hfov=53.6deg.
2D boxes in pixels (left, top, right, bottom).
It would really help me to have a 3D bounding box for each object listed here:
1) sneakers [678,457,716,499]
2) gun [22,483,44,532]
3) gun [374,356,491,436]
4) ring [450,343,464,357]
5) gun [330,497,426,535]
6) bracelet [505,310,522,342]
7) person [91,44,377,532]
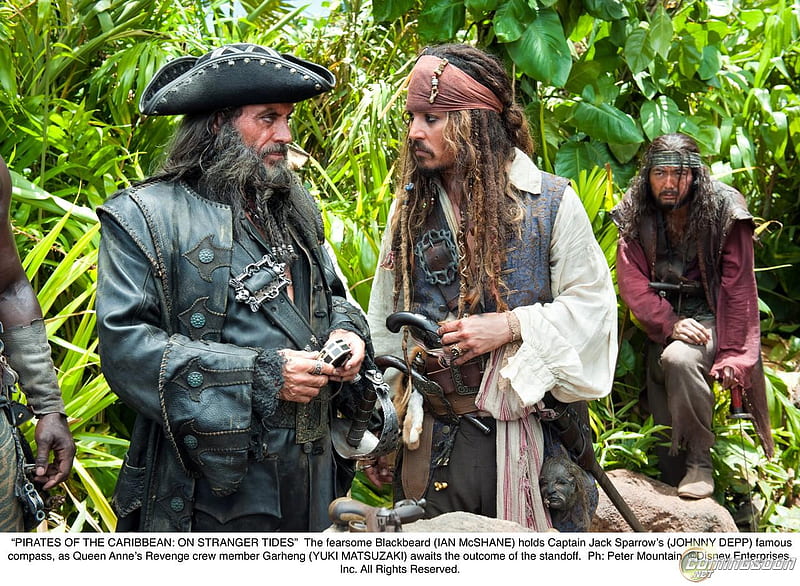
[{"bbox_3d":[2.082,1.301,5.569,0.231,0.256,0.287,-2,-2,18],"label":"sneakers"},{"bbox_3d":[-1.451,0.858,3.148,0.067,0.166,0.124,-5,4,9],"label":"gun"},{"bbox_3d":[0.176,0.503,3.798,0.134,0.561,0.054,-51,-2,-40],"label":"gun"},{"bbox_3d":[0.266,0.276,3.705,0.052,0.048,0.017,-11,2,45],"label":"ring"},{"bbox_3d":[-0.079,0.730,2.570,0.321,0.110,0.167,-1,-2,-2],"label":"gun"},{"bbox_3d":[0.538,0.159,3.720,0.053,0.112,0.086,-10,13,-11],"label":"bracelet"},{"bbox_3d":[-0.754,-0.022,3.485,1.073,2.163,0.577,-1,-2,-15],"label":"person"}]
